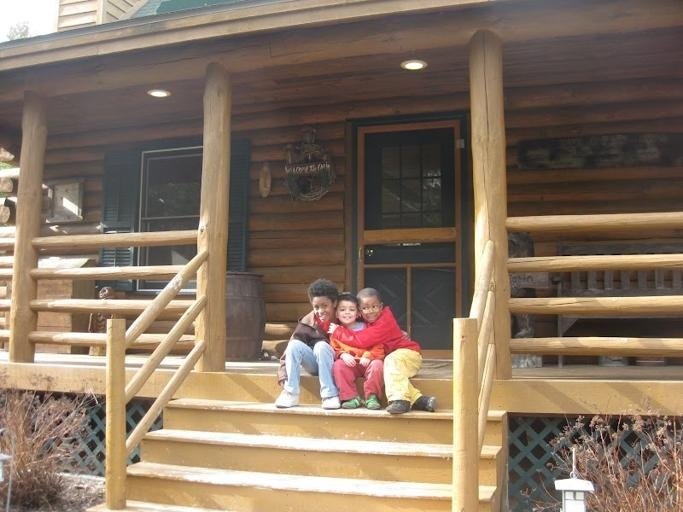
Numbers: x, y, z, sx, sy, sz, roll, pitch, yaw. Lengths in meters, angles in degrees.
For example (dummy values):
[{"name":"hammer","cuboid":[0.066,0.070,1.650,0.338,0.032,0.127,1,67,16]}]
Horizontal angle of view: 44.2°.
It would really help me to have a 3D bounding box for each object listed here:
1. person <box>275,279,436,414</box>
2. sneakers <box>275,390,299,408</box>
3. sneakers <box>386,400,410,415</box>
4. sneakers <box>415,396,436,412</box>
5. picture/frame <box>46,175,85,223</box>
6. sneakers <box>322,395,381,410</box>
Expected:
[{"name":"person","cuboid":[0.215,0.866,7.210,1.309,0.952,0.989,-2,-12,16]},{"name":"sneakers","cuboid":[-0.442,1.172,6.851,0.089,0.098,0.242,-5,-13,25]},{"name":"sneakers","cuboid":[0.459,1.174,6.598,0.093,0.064,0.163,-6,-14,27]},{"name":"sneakers","cuboid":[0.678,1.171,6.702,0.160,0.116,0.109,0,-4,3]},{"name":"picture/frame","cuboid":[-3.419,-0.699,10.492,0.633,0.620,0.048,0,-5,21]},{"name":"sneakers","cuboid":[0.090,1.176,6.805,0.460,0.106,0.209,1,-4,-3]}]
